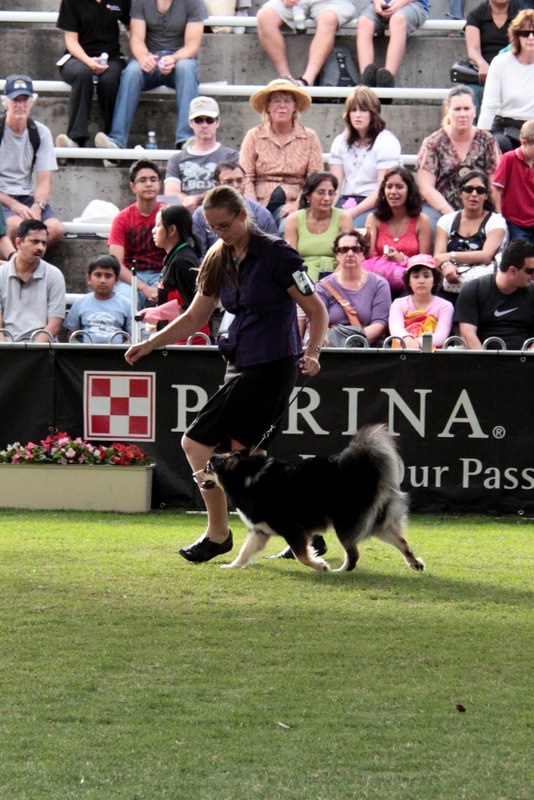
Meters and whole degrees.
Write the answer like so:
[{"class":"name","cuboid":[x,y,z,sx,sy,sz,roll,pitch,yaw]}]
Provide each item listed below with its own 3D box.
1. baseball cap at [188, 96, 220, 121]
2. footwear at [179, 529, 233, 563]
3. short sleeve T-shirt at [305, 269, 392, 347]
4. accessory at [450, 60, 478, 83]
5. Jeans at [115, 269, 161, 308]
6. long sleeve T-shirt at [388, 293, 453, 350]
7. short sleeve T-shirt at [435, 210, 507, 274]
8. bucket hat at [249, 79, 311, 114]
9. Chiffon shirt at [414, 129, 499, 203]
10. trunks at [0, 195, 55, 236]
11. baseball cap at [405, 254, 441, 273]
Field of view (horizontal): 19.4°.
[{"class":"baseball cap","cuboid":[-0.484,-2.161,11.550,0.159,0.117,0.230,-1,-2,2]},{"class":"footwear","cuboid":[-0.302,0.719,7.638,0.300,0.122,0.109,-13,14,-22]},{"class":"short sleeve T-shirt","cuboid":[0.515,-0.609,10.221,0.644,0.582,0.354,-2,-11,-5]},{"class":"accessory","cuboid":[1.626,-2.719,13.021,0.255,0.178,0.102,5,-5,17]},{"class":"Jeans","cuboid":[-0.908,-0.790,10.859,0.316,0.307,0.115,-11,-25,18]},{"class":"long sleeve T-shirt","cuboid":[0.971,-0.487,9.932,0.298,0.132,0.399,-2,36,14]},{"class":"short sleeve T-shirt","cuboid":[1.372,-1.055,10.532,0.436,0.513,0.293,8,-10,26]},{"class":"bucket hat","cuboid":[0.106,-2.240,11.431,0.330,0.085,0.300,5,-28,-11]},{"class":"Chiffon shirt","cuboid":[1.366,-1.678,11.346,0.575,0.547,0.403,1,14,5]},{"class":"trunks","cuboid":[-1.785,-1.379,11.431,0.281,0.120,0.441,-6,31,0]},{"class":"baseball cap","cuboid":[0.996,-0.891,10.173,0.210,0.109,0.280,2,13,5]}]
